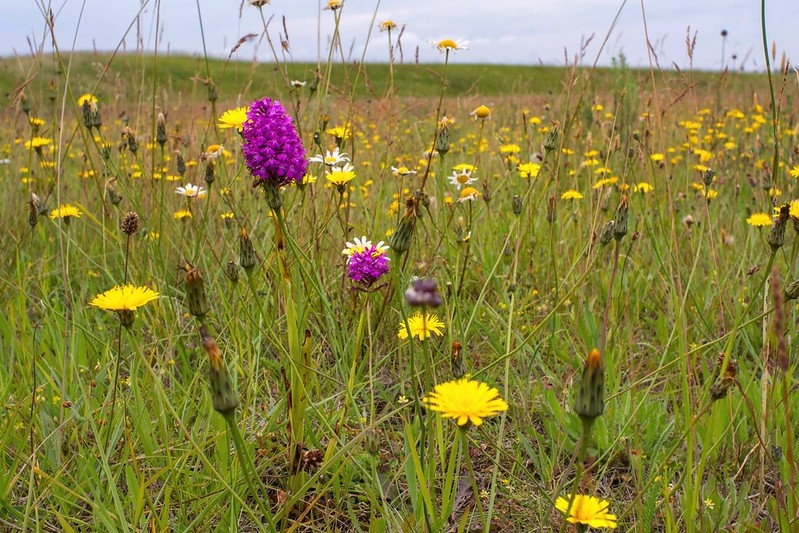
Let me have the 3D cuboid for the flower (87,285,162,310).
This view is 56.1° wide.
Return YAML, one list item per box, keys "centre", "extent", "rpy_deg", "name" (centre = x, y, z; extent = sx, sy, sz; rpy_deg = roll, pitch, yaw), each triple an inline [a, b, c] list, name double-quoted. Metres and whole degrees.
- centre: [-1.492, 0.169, 4.115]
  extent: [0.159, 0.084, 0.190]
  rpy_deg: [1, 24, 1]
  name: "flower"

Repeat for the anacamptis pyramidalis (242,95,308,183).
- centre: [-0.655, -0.637, 3.997]
  extent: [0.187, 0.644, 0.350]
  rpy_deg: [-2, -3, 5]
  name: "anacamptis pyramidalis"

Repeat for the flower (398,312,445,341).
- centre: [0.104, 0.337, 4.041]
  extent: [0.210, 0.095, 0.226]
  rpy_deg: [7, 14, 36]
  name: "flower"

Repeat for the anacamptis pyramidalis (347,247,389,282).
- centre: [-0.174, -0.020, 4.163]
  extent: [0.172, 0.224, 0.180]
  rpy_deg: [4, 9, 42]
  name: "anacamptis pyramidalis"

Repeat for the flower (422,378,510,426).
- centre: [0.308, 0.673, 3.569]
  extent: [0.366, 0.265, 0.322]
  rpy_deg: [-5, 12, -8]
  name: "flower"
